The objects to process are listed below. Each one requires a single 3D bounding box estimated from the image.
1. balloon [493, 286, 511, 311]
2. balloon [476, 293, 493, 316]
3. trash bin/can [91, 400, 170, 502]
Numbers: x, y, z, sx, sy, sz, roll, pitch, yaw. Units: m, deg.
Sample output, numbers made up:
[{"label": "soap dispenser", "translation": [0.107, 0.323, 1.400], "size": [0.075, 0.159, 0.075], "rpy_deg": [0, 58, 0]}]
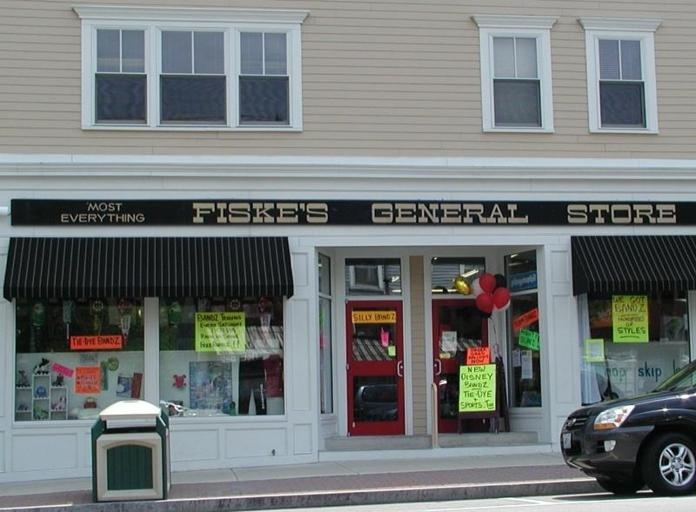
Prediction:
[{"label": "balloon", "translation": [3.039, 0.853, 18.610], "size": [0.345, 0.412, 0.447], "rpy_deg": [-21, 4, 6]}, {"label": "balloon", "translation": [2.680, 0.973, 18.608], "size": [0.284, 0.386, 0.300], "rpy_deg": [-32, 8, -41]}, {"label": "trash bin/can", "translation": [-3.263, 2.935, 14.073], "size": [1.349, 1.845, 1.347], "rpy_deg": [1, -7, -9]}]
